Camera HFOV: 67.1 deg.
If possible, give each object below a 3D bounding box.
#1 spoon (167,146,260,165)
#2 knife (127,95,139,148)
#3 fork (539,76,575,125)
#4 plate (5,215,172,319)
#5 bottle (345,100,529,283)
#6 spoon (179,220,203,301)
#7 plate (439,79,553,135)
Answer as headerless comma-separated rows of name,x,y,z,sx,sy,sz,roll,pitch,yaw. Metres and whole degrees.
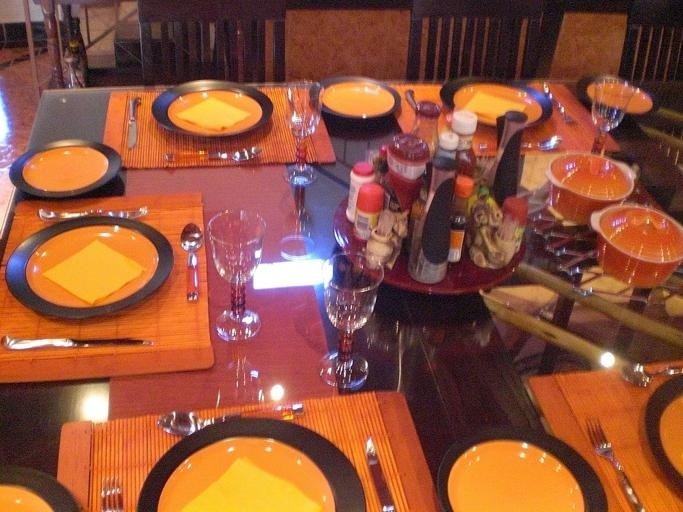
spoon,-0.365,-0.282,1.450,0.236,0.053,0.048,-1,83,-8
knife,-0.614,-0.409,1.527,0.027,0.192,0.017,8,64,-24
fork,0.718,-0.510,1.770,0.071,0.049,0.274,-3,51,-8
plate,-0.533,0.037,1.097,0.233,0.037,0.254,6,47,-15
bottle,0.219,-0.095,1.219,0.344,0.384,0.388,10,39,11
spoon,-0.335,0.012,1.154,0.038,0.032,0.223,2,46,-19
plate,0.489,-0.538,1.720,0.253,0.024,0.246,-31,47,-27
